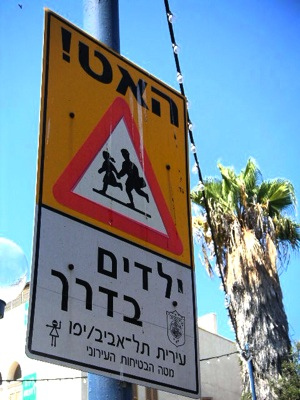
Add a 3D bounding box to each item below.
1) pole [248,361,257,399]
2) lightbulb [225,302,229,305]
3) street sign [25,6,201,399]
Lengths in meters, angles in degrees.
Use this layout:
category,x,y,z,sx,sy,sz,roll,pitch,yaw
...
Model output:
category,x,y,z,sx,sy,sz,roll,pitch,yaw
pole,2.592,4.639,12.833,0.116,0.994,0.804,-7,-28,10
lightbulb,1.393,1.873,9.109,0.058,0.031,0.160,-8,-35,3
street sign,-0.162,0.071,2.285,0.088,2.184,1.111,-19,-40,24
